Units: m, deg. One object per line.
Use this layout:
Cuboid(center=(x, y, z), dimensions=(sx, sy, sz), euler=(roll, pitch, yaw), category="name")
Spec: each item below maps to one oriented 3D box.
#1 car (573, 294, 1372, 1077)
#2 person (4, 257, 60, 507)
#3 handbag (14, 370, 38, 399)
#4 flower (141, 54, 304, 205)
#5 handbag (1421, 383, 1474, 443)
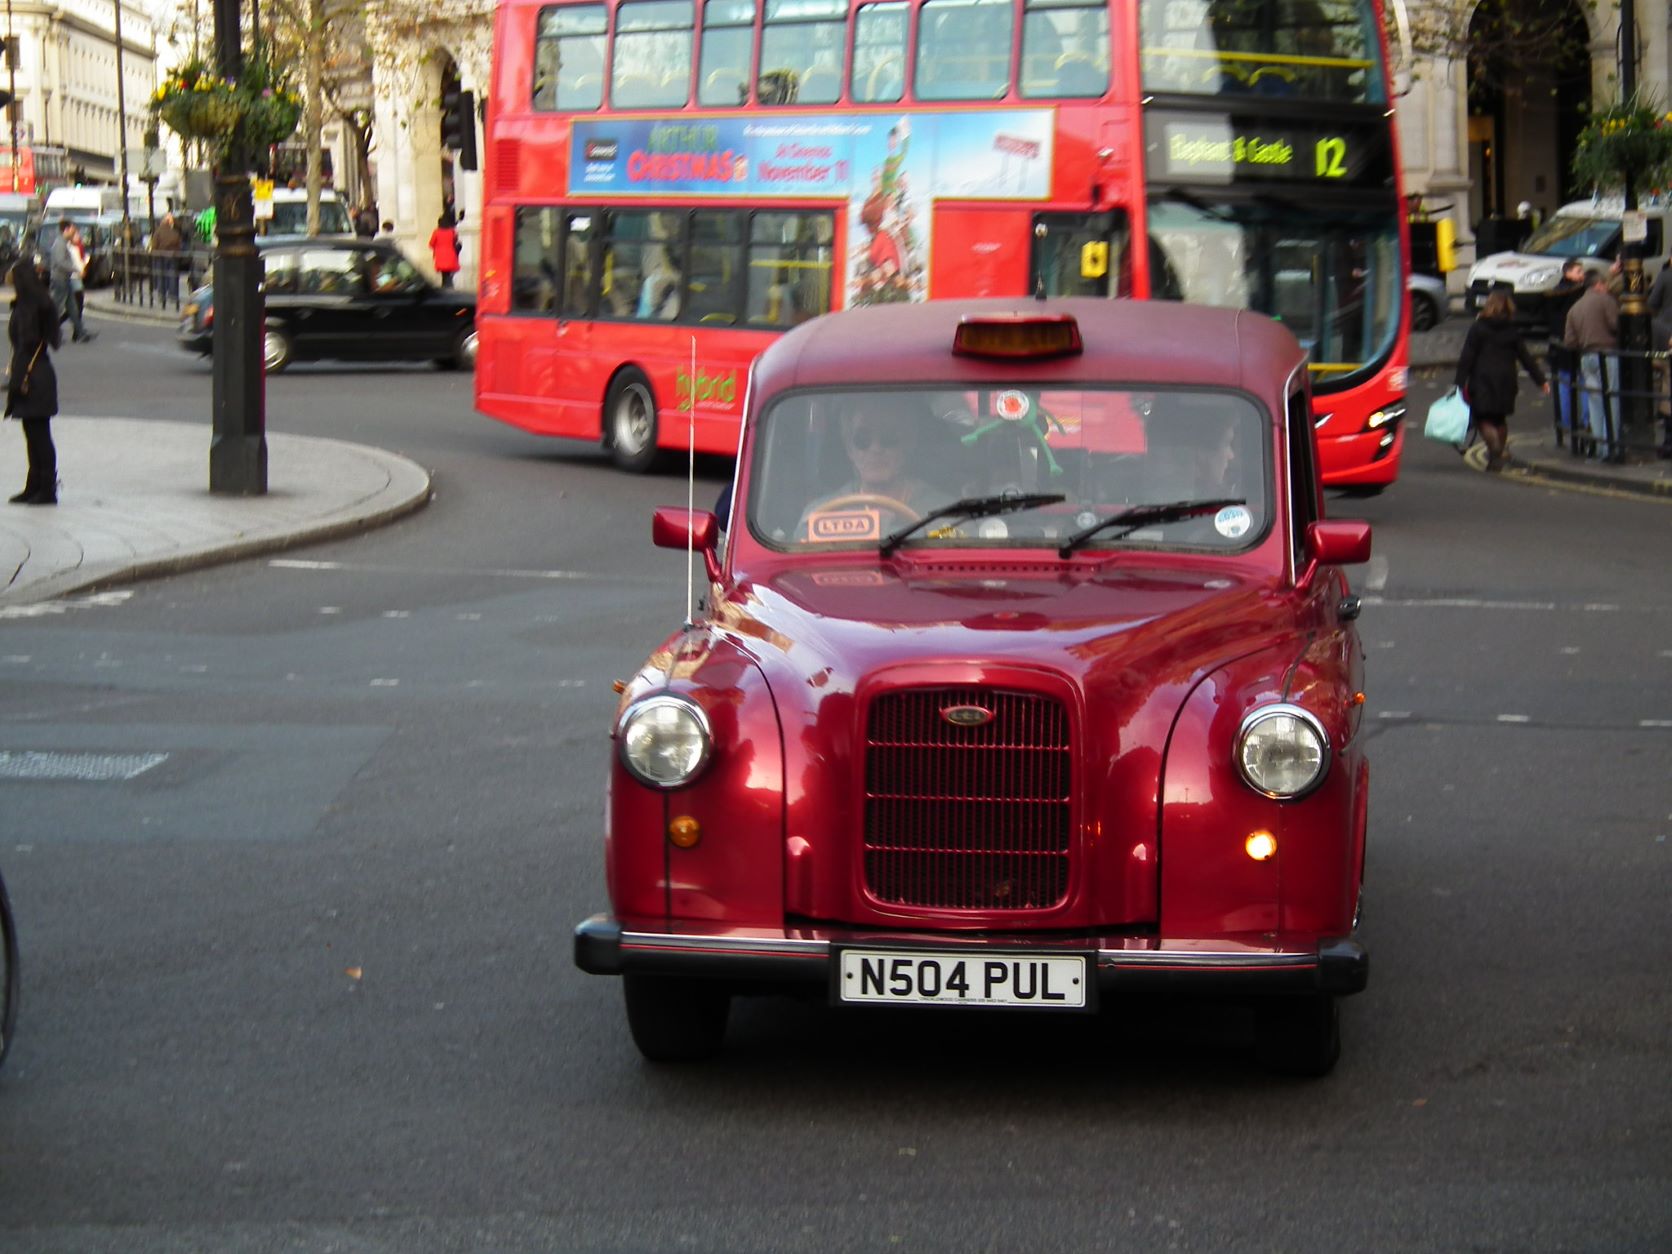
Cuboid(center=(0.567, -0.058, 5.914), dimensions=(1.458, 1.681, 3.090), euler=(0, 3, 7), category="car")
Cuboid(center=(-7.892, -2.428, 16.385), dimensions=(0.485, 2.426, 1.072), euler=(-3, 8, -25), category="person")
Cuboid(center=(-7.763, -2.370, 16.020), dimensions=(0.140, 0.259, 0.194), euler=(-3, 9, -21), category="handbag")
Cuboid(center=(-6.606, -5.583, 18.038), dimensions=(1.365, 1.423, 1.068), euler=(4, 9, 27), category="flower")
Cuboid(center=(7.234, -2.464, 19.644), dimensions=(0.385, 0.637, 1.133), euler=(4, 10, 26), category="handbag")
